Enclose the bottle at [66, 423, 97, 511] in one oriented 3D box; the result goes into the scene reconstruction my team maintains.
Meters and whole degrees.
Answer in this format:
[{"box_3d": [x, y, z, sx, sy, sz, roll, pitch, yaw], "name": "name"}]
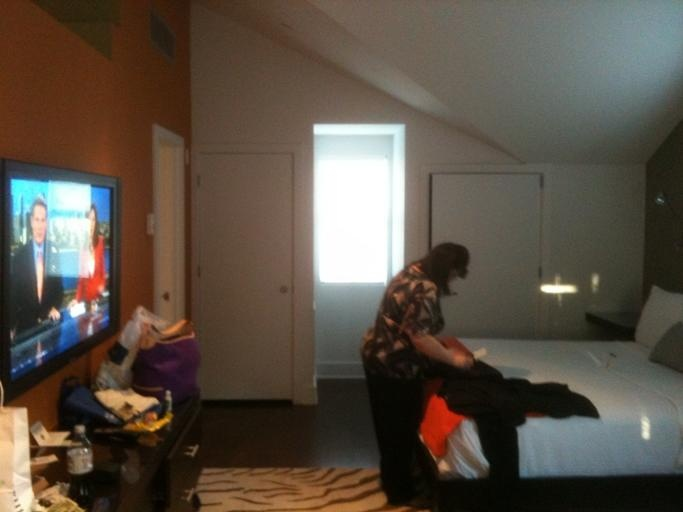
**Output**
[{"box_3d": [-1.094, 0.868, 2.378, 0.100, 0.258, 0.308, -6, 13, -28], "name": "bottle"}]
